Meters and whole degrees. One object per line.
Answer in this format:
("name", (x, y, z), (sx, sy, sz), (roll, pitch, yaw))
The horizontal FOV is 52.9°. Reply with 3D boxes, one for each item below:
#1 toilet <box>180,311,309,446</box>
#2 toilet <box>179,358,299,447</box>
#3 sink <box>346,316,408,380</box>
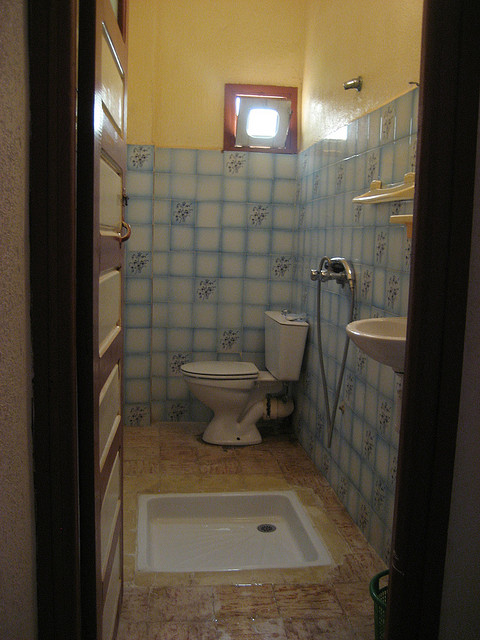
("toilet", (0.024, 0.350, 3.350), (0.780, 1.126, 0.576), (1, 5, -2))
("toilet", (-0.027, 0.495, 3.030), (0.683, 0.597, 0.436), (1, 3, -8))
("sink", (0.375, 0.070, 1.321), (0.142, 0.123, 0.249), (-6, 7, 2))
